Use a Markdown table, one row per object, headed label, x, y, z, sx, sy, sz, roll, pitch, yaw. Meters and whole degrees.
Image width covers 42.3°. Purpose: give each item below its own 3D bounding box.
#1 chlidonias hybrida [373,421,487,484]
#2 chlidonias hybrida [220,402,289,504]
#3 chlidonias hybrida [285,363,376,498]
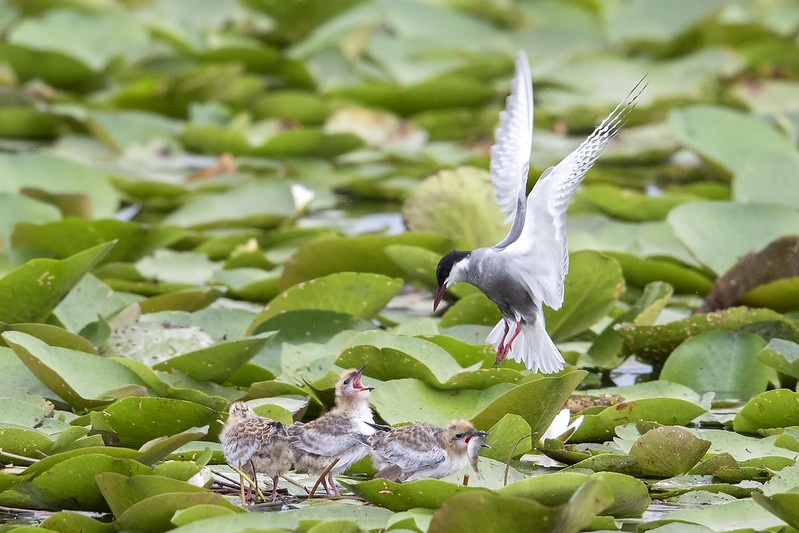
| label | x | y | z | sx | sy | sz | roll | pitch | yaw |
| --- | --- | --- | --- | --- | --- | --- | --- | --- | --- |
| chlidonias hybrida | 0.115 | 0.549 | 3.136 | 0.340 | 0.181 | 0.159 | 18 | 14 | -5 |
| chlidonias hybrida | -0.422 | 0.568 | 3.142 | 0.208 | 0.279 | 0.371 | 2 | -9 | -32 |
| chlidonias hybrida | -0.189 | 0.492 | 3.169 | 0.293 | 0.354 | 0.204 | -2 | 9 | 31 |
